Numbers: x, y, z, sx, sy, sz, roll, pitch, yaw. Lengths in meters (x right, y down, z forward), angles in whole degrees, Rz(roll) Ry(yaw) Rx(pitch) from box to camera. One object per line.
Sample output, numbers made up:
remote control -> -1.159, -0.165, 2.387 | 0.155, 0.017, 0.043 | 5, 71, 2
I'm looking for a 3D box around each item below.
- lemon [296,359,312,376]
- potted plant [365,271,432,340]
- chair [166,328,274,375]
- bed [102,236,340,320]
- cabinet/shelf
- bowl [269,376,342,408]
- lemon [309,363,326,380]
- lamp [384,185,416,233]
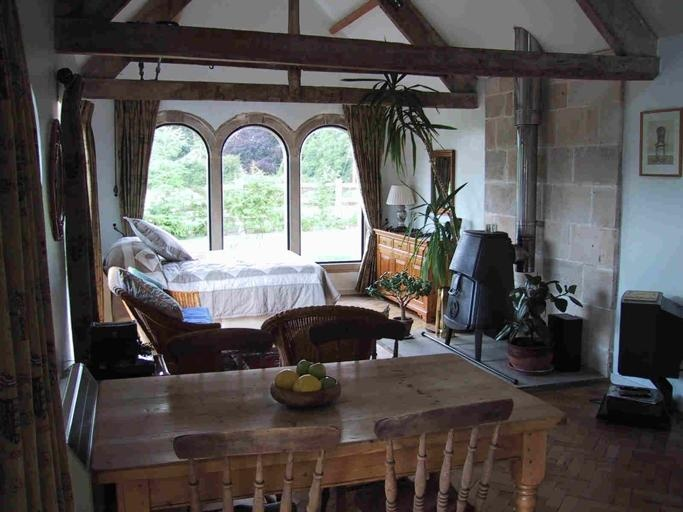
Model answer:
lemon -> -0.191, 0.525, 2.622 | 0.063, 0.070, 0.069 | 31, 29, 25
potted plant -> 0.789, 0.661, 6.884 | 0.918, 0.966, 0.711 | 0, 9, 7
chair -> -0.760, 0.597, 3.388 | 0.670, 0.249, 0.504 | 0, -2, -17
bed -> -1.330, 0.297, 6.751 | 1.939, 0.672, 1.438 | -4, 7, -18
cabinet/shelf -> 0.979, 0.258, 6.929 | 0.407, 0.879, 1.214 | -1, 11, -15
bowl -> -0.150, 0.632, 2.457 | 0.177, 0.062, 0.181 | 2, 0, 0
lemon -> -0.107, 0.543, 2.564 | 0.064, 0.069, 0.068 | -3, -2, 24
lamp -> 0.975, -0.793, 8.761 | 0.434, 0.684, 0.727 | 1, 8, 7
